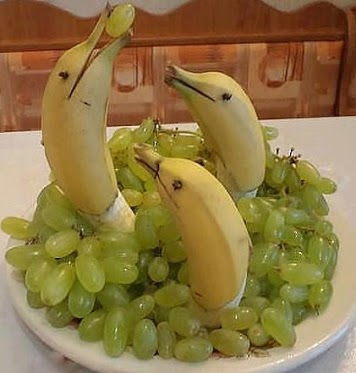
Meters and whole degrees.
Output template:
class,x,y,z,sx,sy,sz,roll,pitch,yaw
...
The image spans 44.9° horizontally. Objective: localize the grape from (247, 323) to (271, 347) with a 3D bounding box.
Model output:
class,x,y,z,sx,sy,sz,roll,pitch,yaw
grape,0.101,0.192,0.557,0.036,0.021,0.028,13,3,26

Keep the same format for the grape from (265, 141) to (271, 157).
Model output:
class,x,y,z,sx,sy,sz,roll,pitch,yaw
grape,0.162,-0.068,0.777,0.010,0.030,0.008,20,-26,-29

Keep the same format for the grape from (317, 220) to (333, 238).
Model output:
class,x,y,z,sx,sy,sz,roll,pitch,yaw
grape,0.222,0.065,0.655,0.019,0.020,0.025,-2,0,3

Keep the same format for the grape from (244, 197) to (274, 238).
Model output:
class,x,y,z,sx,sy,sz,roll,pitch,yaw
grape,0.127,0.050,0.676,0.046,0.064,0.034,7,1,5

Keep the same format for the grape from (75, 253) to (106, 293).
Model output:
class,x,y,z,sx,sy,sz,roll,pitch,yaw
grape,-0.109,0.107,0.535,0.029,0.024,0.054,4,51,-39

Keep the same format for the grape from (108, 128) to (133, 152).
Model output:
class,x,y,z,sx,sy,sz,roll,pitch,yaw
grape,-0.100,-0.078,0.722,0.025,0.016,0.046,8,35,16

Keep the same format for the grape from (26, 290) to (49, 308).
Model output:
class,x,y,z,sx,sy,sz,roll,pitch,yaw
grape,-0.193,0.151,0.578,0.018,0.022,0.005,-10,-13,3

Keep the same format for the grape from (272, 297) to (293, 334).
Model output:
class,x,y,z,sx,sy,sz,roll,pitch,yaw
grape,0.135,0.166,0.560,0.018,0.019,0.042,0,51,-34

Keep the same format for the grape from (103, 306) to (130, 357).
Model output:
class,x,y,z,sx,sy,sz,roll,pitch,yaw
grape,-0.073,0.173,0.517,0.024,0.025,0.054,-22,48,40

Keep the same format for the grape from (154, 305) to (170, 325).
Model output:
class,x,y,z,sx,sy,sz,roll,pitch,yaw
grape,-0.022,0.173,0.575,0.017,0.022,0.006,25,13,29

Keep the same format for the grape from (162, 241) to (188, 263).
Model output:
class,x,y,z,sx,sy,sz,roll,pitch,yaw
grape,-0.004,0.087,0.593,0.037,0.030,0.022,1,14,22

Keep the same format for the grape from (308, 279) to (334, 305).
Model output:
class,x,y,z,sx,sy,sz,roll,pitch,yaw
grape,0.199,0.153,0.597,0.031,0.031,0.053,-4,16,26

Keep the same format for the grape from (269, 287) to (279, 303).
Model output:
class,x,y,z,sx,sy,sz,roll,pitch,yaw
grape,0.139,0.159,0.627,0.010,0.018,0.014,13,23,-28

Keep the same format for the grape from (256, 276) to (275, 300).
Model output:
class,x,y,z,sx,sy,sz,roll,pitch,yaw
grape,0.131,0.151,0.646,0.027,0.038,0.011,1,7,-7

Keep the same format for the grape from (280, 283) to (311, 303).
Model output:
class,x,y,z,sx,sy,sz,roll,pitch,yaw
grape,0.160,0.145,0.588,0.041,0.023,0.025,3,51,-16

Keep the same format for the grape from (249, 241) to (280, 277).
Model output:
class,x,y,z,sx,sy,sz,roll,pitch,yaw
grape,0.120,0.102,0.624,0.037,0.034,0.053,24,56,20

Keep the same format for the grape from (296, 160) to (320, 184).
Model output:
class,x,y,z,sx,sy,sz,roll,pitch,yaw
grape,0.221,-0.026,0.751,0.033,0.033,0.060,-33,-24,35

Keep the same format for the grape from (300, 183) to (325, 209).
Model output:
class,x,y,z,sx,sy,sz,roll,pitch,yaw
grape,0.226,0.017,0.727,0.026,0.027,0.050,-31,63,13

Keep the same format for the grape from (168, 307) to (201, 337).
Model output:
class,x,y,z,sx,sy,sz,roll,pitch,yaw
grape,0.008,0.167,0.530,0.021,0.029,0.038,-57,29,-8

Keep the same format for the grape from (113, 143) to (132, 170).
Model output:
class,x,y,z,sx,sy,sz,roll,pitch,yaw
grape,-0.099,-0.050,0.745,0.034,0.046,0.016,15,37,12

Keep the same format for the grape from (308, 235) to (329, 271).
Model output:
class,x,y,z,sx,sy,sz,roll,pitch,yaw
grape,0.210,0.103,0.657,0.025,0.045,0.027,26,-27,-23

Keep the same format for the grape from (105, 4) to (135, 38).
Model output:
class,x,y,z,sx,sy,sz,roll,pitch,yaw
grape,-0.064,-0.181,0.471,0.033,0.038,0.037,-10,31,-14

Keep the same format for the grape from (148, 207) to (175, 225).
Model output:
class,x,y,z,sx,sy,sz,roll,pitch,yaw
grape,-0.024,0.041,0.610,0.030,0.021,0.019,27,-3,1

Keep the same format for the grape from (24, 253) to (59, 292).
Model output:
class,x,y,z,sx,sy,sz,roll,pitch,yaw
grape,-0.184,0.110,0.583,0.028,0.031,0.055,-2,36,41

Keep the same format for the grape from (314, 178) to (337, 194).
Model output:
class,x,y,z,sx,sy,sz,roll,pitch,yaw
grape,0.257,-0.001,0.745,0.039,0.023,0.021,7,0,8

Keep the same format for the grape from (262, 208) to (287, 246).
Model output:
class,x,y,z,sx,sy,sz,roll,pitch,yaw
grape,0.151,0.062,0.667,0.015,0.030,0.054,-18,41,44

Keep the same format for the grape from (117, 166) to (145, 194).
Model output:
class,x,y,z,sx,sy,sz,roll,pitch,yaw
grape,-0.089,-0.013,0.727,0.026,0.057,0.031,16,55,3

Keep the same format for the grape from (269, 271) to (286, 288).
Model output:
class,x,y,z,sx,sy,sz,roll,pitch,yaw
grape,0.143,0.136,0.627,0.014,0.024,0.019,-53,13,-17

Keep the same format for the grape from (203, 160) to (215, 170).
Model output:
class,x,y,z,sx,sy,sz,roll,pitch,yaw
grape,0.051,-0.036,0.713,0.007,0.009,0.025,-36,58,-7

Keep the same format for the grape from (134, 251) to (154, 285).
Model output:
class,x,y,z,sx,sy,sz,roll,pitch,yaw
grape,-0.048,0.111,0.603,0.023,0.045,0.026,6,4,33

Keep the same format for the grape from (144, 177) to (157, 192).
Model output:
class,x,y,z,sx,sy,sz,roll,pitch,yaw
grape,-0.047,-0.003,0.711,0.020,0.027,0.009,9,25,23

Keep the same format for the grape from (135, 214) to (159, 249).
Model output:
class,x,y,z,sx,sy,sz,roll,pitch,yaw
grape,-0.042,0.062,0.585,0.025,0.048,0.027,-15,0,-10

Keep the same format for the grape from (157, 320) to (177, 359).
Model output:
class,x,y,z,sx,sy,sz,roll,pitch,yaw
grape,-0.014,0.191,0.535,0.026,0.018,0.052,-18,33,2

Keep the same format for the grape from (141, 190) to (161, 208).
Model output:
class,x,y,z,sx,sy,sz,roll,pitch,yaw
grape,-0.041,0.019,0.661,0.032,0.024,0.019,20,-13,48

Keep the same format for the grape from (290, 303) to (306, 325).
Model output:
class,x,y,z,sx,sy,sz,roll,pitch,yaw
grape,0.166,0.175,0.589,0.018,0.014,0.025,-1,61,8

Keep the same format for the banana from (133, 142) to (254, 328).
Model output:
class,x,y,z,sx,sy,sz,roll,pitch,yaw
banana,0.027,0.069,0.535,0.151,0.268,0.083,3,40,11

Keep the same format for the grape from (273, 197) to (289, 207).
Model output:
class,x,y,z,sx,sy,sz,roll,pitch,yaw
grape,0.175,0.024,0.718,0.014,0.011,0.018,-27,-3,6

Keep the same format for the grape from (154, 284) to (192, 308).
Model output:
class,x,y,z,sx,sy,sz,roll,pitch,yaw
grape,-0.006,0.137,0.552,0.046,0.028,0.024,-6,10,3

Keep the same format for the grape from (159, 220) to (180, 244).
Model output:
class,x,y,z,sx,sy,sz,roll,pitch,yaw
grape,-0.011,0.063,0.603,0.023,0.033,0.018,-18,-1,-5

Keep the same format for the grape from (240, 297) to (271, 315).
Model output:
class,x,y,z,sx,sy,sz,roll,pitch,yaw
grape,0.105,0.161,0.578,0.028,0.016,0.021,4,7,-6

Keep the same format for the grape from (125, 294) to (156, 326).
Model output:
class,x,y,z,sx,sy,sz,roll,pitch,yaw
grape,-0.050,0.157,0.553,0.049,0.021,0.024,-40,72,-9

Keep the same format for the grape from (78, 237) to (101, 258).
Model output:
class,x,y,z,sx,sy,sz,roll,pitch,yaw
grape,-0.119,0.080,0.578,0.024,0.031,0.025,-2,2,-14

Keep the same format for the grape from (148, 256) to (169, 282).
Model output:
class,x,y,z,sx,sy,sz,roll,pitch,yaw
grape,-0.025,0.109,0.576,0.023,0.032,0.024,-8,-11,10

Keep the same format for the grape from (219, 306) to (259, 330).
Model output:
class,x,y,z,sx,sy,sz,roll,pitch,yaw
grape,0.075,0.160,0.541,0.043,0.025,0.025,-5,45,-7

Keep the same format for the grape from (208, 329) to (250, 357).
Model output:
class,x,y,z,sx,sy,sz,roll,pitch,yaw
grape,0.061,0.190,0.533,0.054,0.032,0.028,9,-3,21

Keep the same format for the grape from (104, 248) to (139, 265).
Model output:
class,x,y,z,sx,sy,sz,roll,pitch,yaw
grape,-0.076,0.091,0.571,0.037,0.023,0.020,12,-8,4

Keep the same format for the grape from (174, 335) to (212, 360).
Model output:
class,x,y,z,sx,sy,sz,roll,pitch,yaw
grape,0.021,0.191,0.509,0.036,0.025,0.021,1,37,0

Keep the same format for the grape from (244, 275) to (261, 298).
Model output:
class,x,y,z,sx,sy,sz,roll,pitch,yaw
grape,0.103,0.141,0.600,0.023,0.031,0.017,16,-3,38

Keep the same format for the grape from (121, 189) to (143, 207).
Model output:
class,x,y,z,sx,sy,sz,roll,pitch,yaw
grape,-0.070,0.016,0.671,0.031,0.020,0.019,36,40,7

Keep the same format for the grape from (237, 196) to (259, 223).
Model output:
class,x,y,z,sx,sy,sz,roll,pitch,yaw
grape,0.103,0.033,0.634,0.028,0.039,0.022,-24,-7,-19

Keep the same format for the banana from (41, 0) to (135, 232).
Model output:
class,x,y,z,sx,sy,sz,roll,pitch,yaw
banana,-0.108,-0.058,0.535,0.114,0.319,0.074,-11,30,-17

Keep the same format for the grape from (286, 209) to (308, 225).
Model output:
class,x,y,z,sx,sy,sz,roll,pitch,yaw
grape,0.187,0.047,0.679,0.020,0.023,0.043,8,8,42

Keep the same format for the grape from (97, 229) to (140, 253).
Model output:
class,x,y,z,sx,sy,sz,roll,pitch,yaw
grape,-0.080,0.072,0.586,0.051,0.030,0.026,13,13,-1

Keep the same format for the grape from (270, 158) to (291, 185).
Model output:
class,x,y,z,sx,sy,sz,roll,pitch,yaw
grape,0.175,-0.027,0.733,0.024,0.024,0.051,23,66,11

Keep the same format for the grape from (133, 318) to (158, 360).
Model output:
class,x,y,z,sx,sy,sz,roll,pitch,yaw
grape,-0.040,0.188,0.522,0.029,0.026,0.048,-2,33,2

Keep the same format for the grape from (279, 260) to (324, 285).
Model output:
class,x,y,z,sx,sy,sz,roll,pitch,yaw
grape,0.167,0.117,0.591,0.052,0.031,0.029,2,18,-3

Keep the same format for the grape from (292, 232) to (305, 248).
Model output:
class,x,y,z,sx,sy,sz,roll,pitch,yaw
grape,0.191,0.085,0.688,0.013,0.038,0.010,-10,16,20

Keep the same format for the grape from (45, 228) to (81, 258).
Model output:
class,x,y,z,sx,sy,sz,roll,pitch,yaw
grape,-0.155,0.075,0.573,0.029,0.047,0.029,20,42,-54

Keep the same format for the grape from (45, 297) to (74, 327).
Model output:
class,x,y,z,sx,sy,sz,roll,pitch,yaw
grape,-0.154,0.166,0.557,0.023,0.012,0.037,6,33,-4

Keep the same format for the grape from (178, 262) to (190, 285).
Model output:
class,x,y,z,sx,sy,sz,roll,pitch,yaw
grape,0.008,0.118,0.584,0.014,0.025,0.018,-4,16,5
